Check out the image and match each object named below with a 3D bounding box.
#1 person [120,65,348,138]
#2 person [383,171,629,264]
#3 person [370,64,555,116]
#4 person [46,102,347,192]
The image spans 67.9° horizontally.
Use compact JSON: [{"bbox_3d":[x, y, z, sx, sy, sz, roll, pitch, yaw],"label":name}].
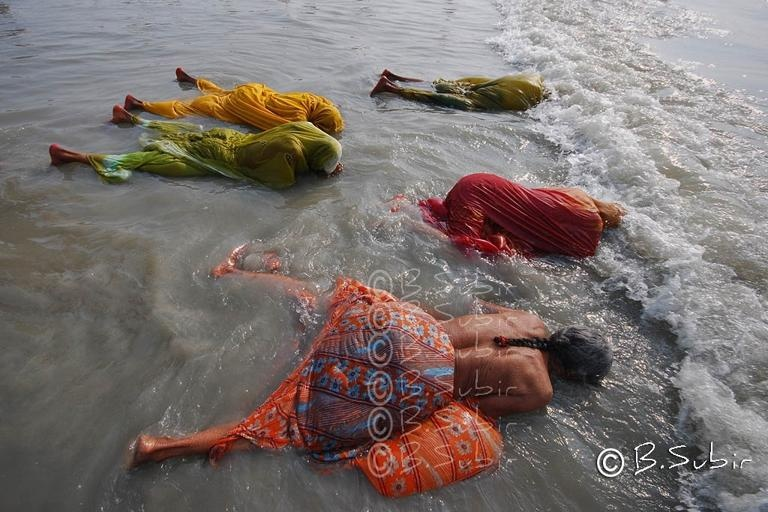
[{"bbox_3d":[-2.238,-2.391,8.997,2.682,0.607,1.335,14,39,-9],"label":"person"},{"bbox_3d":[1.566,-0.426,6.914,2.273,0.581,0.892,7,58,-4],"label":"person"},{"bbox_3d":[1.465,-2.922,10.224,2.606,0.502,1.231,3,25,1],"label":"person"},{"bbox_3d":[-2.249,-1.407,7.788,3.916,0.796,1.277,10,48,-6],"label":"person"}]
